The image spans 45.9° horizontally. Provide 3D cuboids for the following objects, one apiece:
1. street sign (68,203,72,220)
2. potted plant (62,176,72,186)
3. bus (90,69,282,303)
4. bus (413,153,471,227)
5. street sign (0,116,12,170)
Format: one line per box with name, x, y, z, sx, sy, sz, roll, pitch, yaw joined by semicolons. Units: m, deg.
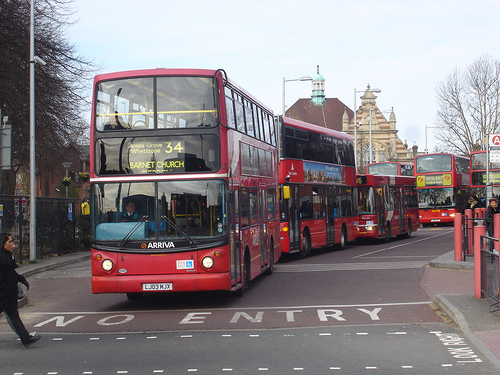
street sign;-8.962;1.206;29.513;0.152;0.803;0.328;-1;0;-7
potted plant;-12.865;-0.534;41.249;0.600;0.550;0.713;0;-14;-5
bus;-0.958;-0.052;17.931;3.264;5.560;10.710;-3;-1;11
bus;16.649;0.146;49.850;3.277;5.866;11.147;-2;-1;28
street sign;-7.757;-1.287;18.785;0.307;1.555;1.028;-1;-1;-16
